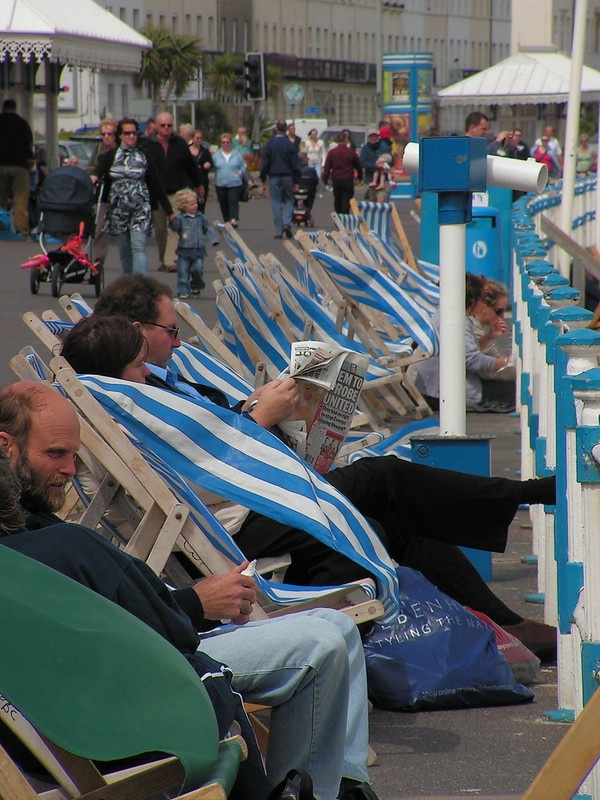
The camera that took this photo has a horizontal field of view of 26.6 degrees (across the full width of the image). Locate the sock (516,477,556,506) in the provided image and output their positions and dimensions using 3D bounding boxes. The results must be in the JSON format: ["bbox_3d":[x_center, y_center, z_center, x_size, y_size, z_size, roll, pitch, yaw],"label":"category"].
[{"bbox_3d":[0.728,0.261,3.945,0.154,0.108,0.085,0,-4,-12],"label":"sock"}]

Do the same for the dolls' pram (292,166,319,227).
[{"bbox_3d":[0.051,-3.934,24.435,0.633,1.092,0.807,5,21,7],"label":"dolls' pram"}]

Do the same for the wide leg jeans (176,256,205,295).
[{"bbox_3d":[-1.171,-1.326,13.512,0.336,0.328,0.610,-8,20,1],"label":"wide leg jeans"}]

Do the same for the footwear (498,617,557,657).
[{"bbox_3d":[0.720,0.710,3.973,0.138,0.051,0.107,24,25,31],"label":"footwear"}]

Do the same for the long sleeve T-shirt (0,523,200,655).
[{"bbox_3d":[-0.363,0.339,2.489,0.237,0.157,0.335,23,-11,47],"label":"long sleeve T-shirt"}]

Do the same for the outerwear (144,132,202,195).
[{"bbox_3d":[-1.510,-2.619,14.309,0.837,0.711,0.286,-4,20,-5],"label":"outerwear"}]

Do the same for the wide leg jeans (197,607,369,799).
[{"bbox_3d":[0.008,0.660,2.871,0.452,0.403,0.315,-3,1,7],"label":"wide leg jeans"}]

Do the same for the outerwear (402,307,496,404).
[{"bbox_3d":[1.096,-0.232,8.456,0.631,0.635,0.572,-7,20,-11],"label":"outerwear"}]

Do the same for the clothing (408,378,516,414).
[{"bbox_3d":[1.231,-0.043,8.703,0.439,0.160,0.314,4,1,19],"label":"clothing"}]

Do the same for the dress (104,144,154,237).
[{"bbox_3d":[-1.641,-1.967,11.952,0.454,0.902,0.311,6,17,4],"label":"dress"}]
